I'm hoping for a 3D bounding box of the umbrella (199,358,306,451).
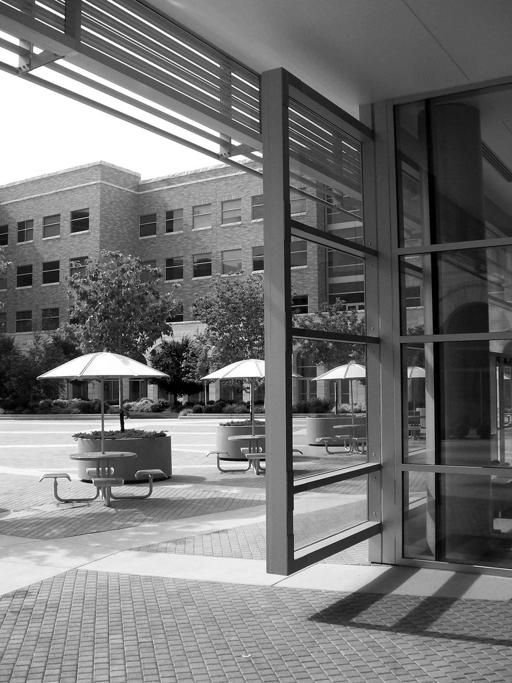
[{"bbox_3d":[-0.079,1.197,15.298,1.980,1.690,1.894,-2,0,-28],"label":"umbrella"}]

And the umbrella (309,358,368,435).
[{"bbox_3d":[1.294,0.715,10.135,0.891,0.832,0.883,5,2,-1],"label":"umbrella"}]

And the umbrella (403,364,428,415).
[{"bbox_3d":[1.339,0.361,5.752,0.193,0.311,0.209,-6,2,23],"label":"umbrella"}]
